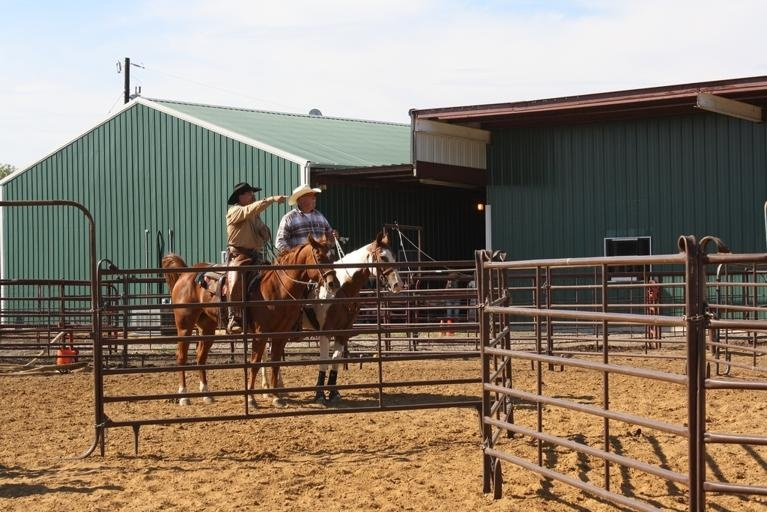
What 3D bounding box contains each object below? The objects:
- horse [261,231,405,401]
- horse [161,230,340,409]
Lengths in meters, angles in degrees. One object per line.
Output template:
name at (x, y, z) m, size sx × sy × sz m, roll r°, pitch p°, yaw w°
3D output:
horse at (-0.961, 1.039, 14.676) m, size 3.110 × 2.455 × 0.861 m, roll -5°, pitch -12°, yaw 38°
horse at (-2.173, 0.999, 14.628) m, size 3.490 × 2.583 × 1.074 m, roll -3°, pitch -3°, yaw 31°
